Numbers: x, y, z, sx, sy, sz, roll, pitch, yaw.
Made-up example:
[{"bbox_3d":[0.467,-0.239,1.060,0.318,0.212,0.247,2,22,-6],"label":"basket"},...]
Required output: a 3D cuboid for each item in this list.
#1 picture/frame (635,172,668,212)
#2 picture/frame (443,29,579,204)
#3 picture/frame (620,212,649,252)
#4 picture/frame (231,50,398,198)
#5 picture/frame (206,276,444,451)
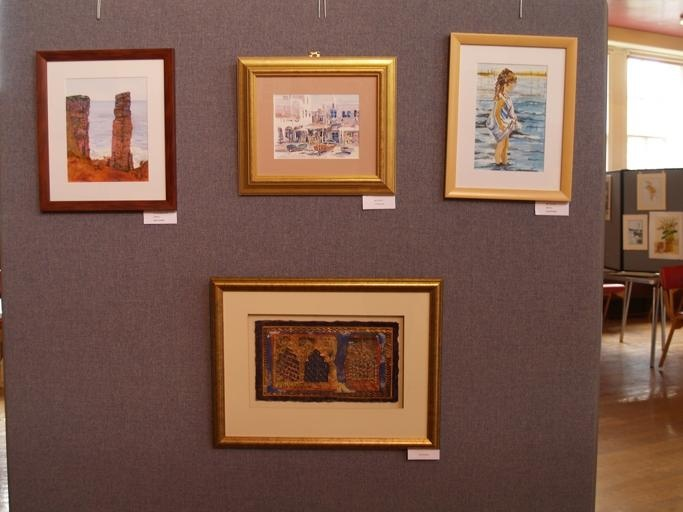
[{"bbox_3d":[3.094,-0.644,8.024,0.365,0.532,0.045,3,6,44],"label":"picture/frame"},{"bbox_3d":[0.875,-0.773,4.266,0.806,1.046,0.042,2,0,-1],"label":"picture/frame"},{"bbox_3d":[2.973,-0.239,8.180,0.058,0.408,0.293,-3,14,-40],"label":"picture/frame"},{"bbox_3d":[-0.130,-0.723,4.248,0.697,0.642,0.052,0,3,-4],"label":"picture/frame"},{"bbox_3d":[-0.072,0.538,4.291,0.855,0.682,0.042,0,3,3],"label":"picture/frame"}]
